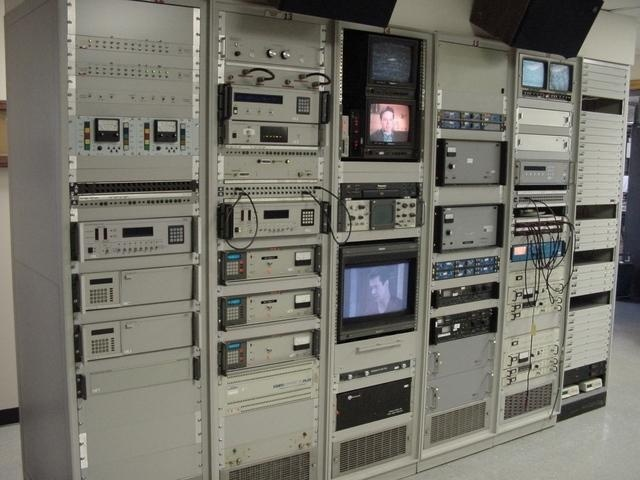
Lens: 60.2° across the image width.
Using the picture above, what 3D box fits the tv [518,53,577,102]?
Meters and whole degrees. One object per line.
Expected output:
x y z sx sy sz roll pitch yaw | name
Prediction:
1.829 -1.308 4.469 0.658 0.323 0.043 -5 11 -31 | tv

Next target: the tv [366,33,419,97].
0.486 -1.230 3.824 0.395 0.404 0.218 -3 9 -24 | tv
